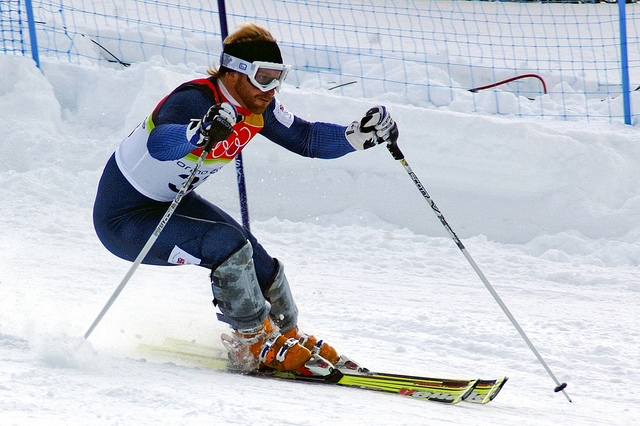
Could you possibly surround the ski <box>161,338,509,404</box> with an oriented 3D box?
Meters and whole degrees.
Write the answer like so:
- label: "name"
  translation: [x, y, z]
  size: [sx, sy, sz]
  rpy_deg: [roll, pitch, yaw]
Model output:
- label: "ski"
  translation: [0.065, 1.374, 7.809]
  size: [2.792, 0.114, 0.279]
  rpy_deg: [9, 16, 9]
